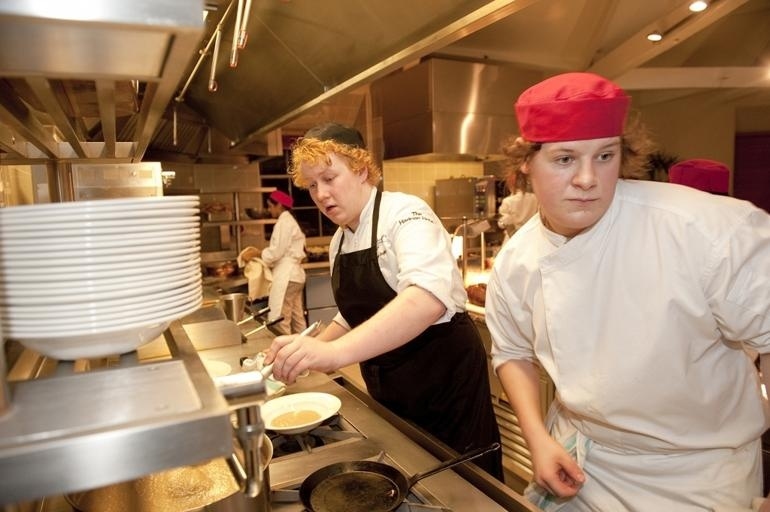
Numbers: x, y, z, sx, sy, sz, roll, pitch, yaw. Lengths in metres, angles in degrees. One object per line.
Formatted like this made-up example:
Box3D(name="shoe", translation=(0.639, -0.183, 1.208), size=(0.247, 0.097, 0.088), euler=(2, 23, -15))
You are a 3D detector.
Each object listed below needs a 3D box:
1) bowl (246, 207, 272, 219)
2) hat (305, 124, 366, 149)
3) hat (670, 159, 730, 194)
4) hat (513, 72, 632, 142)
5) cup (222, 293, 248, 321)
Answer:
Box3D(name="bowl", translation=(-1.364, -0.453, 5.507), size=(0.160, 0.059, 0.162), euler=(1, 0, 0))
Box3D(name="hat", translation=(-0.191, -0.482, 2.027), size=(0.160, 0.065, 0.131), euler=(5, 7, -28))
Box3D(name="hat", translation=(1.798, -0.398, 2.883), size=(0.259, 0.212, 0.249), euler=(0, -10, 36))
Box3D(name="hat", translation=(0.513, -0.421, 1.430), size=(0.188, 0.208, 0.274), euler=(-8, 13, -38))
Box3D(name="cup", translation=(-0.891, 0.319, 2.991), size=(0.133, 0.203, 0.374), euler=(-3, 11, -18))
